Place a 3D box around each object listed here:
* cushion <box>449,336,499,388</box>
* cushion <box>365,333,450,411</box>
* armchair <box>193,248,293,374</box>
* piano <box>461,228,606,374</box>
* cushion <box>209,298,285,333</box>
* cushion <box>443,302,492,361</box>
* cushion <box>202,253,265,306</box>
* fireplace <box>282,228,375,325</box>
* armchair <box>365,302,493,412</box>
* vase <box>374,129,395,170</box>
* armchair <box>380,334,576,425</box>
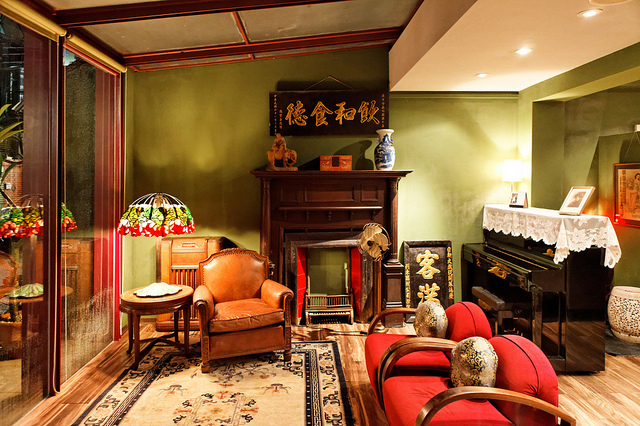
[{"bbox_3d":[1.399,1.404,4.047,0.375,0.484,0.504,9,-14,-12],"label":"cushion"},{"bbox_3d":[0.895,1.438,4.585,0.751,0.655,0.973,-4,4,-5],"label":"cushion"},{"bbox_3d":[-1.020,1.210,5.722,1.321,1.304,1.309,-2,2,2],"label":"armchair"},{"bbox_3d":[2.693,0.987,6.025,1.065,1.543,1.905,-2,4,-5],"label":"piano"},{"bbox_3d":[-0.910,1.265,5.468,0.887,0.273,0.453,0,1,-16],"label":"cushion"},{"bbox_3d":[1.443,1.168,4.449,0.474,0.609,0.593,-1,-2,4],"label":"cushion"},{"bbox_3d":[-1.133,0.912,5.884,0.871,0.930,0.093,-1,26,-12],"label":"cushion"},{"bbox_3d":[0.114,0.903,6.390,1.452,1.463,0.490,0,3,-3],"label":"fireplace"},{"bbox_3d":[1.054,1.321,4.746,1.229,1.001,1.095,0,3,-4],"label":"armchair"},{"bbox_3d":[0.924,-0.903,6.353,0.289,0.579,0.205,1,2,6],"label":"vase"},{"bbox_3d":[1.313,1.528,3.947,1.213,0.772,1.105,1,-3,-3],"label":"armchair"}]
